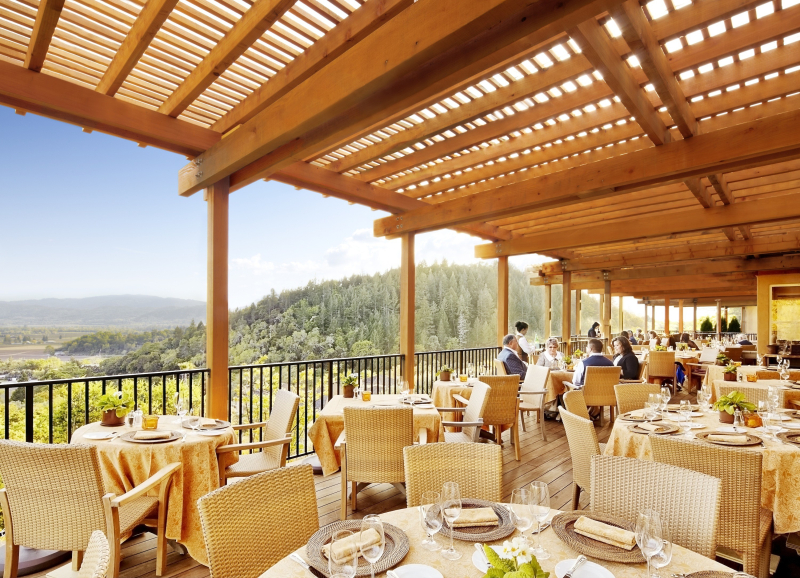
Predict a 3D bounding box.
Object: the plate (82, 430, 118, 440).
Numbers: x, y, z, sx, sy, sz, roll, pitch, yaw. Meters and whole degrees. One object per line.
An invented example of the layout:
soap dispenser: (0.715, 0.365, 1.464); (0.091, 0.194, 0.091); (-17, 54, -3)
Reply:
plate: (-2.366, 1.150, 4.126); (0.238, 0.047, 0.248); (-1, -7, -14)

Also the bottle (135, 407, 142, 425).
bottle: (-2.231, 1.093, 4.476); (0.055, 0.114, 0.120); (1, -7, -27)

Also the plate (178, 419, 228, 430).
plate: (-1.676, 1.147, 4.468); (0.428, 0.072, 0.352); (-1, -7, -10)

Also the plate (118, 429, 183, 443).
plate: (-1.954, 1.153, 4.113); (0.463, 0.080, 0.274); (-2, -7, 1)
